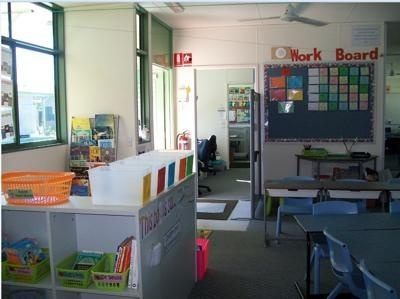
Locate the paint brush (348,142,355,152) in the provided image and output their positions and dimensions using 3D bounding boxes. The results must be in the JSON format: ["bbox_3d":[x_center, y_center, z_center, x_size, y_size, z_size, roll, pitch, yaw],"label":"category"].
[{"bbox_3d":[3.110,-0.051,6.918,0.032,0.123,0.129,13,-6,-23],"label":"paint brush"}]

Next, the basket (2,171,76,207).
[{"bbox_3d":[-1.249,0.292,2.568,0.469,0.173,0.318,4,2,0],"label":"basket"}]

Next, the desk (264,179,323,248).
[{"bbox_3d":[1.309,0.848,4.964,0.960,0.998,0.819,0,-1,4],"label":"desk"}]

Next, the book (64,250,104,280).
[{"bbox_3d":[-0.881,0.848,2.474,0.142,0.069,0.205,0,1,4],"label":"book"}]

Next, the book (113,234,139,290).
[{"bbox_3d":[-0.538,0.786,2.416,0.166,0.356,0.266,-4,8,-15],"label":"book"}]

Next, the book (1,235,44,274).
[{"bbox_3d":[-1.305,0.763,2.503,0.205,0.208,0.218,1,6,14],"label":"book"}]

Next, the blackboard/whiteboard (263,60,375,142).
[{"bbox_3d":[2.542,-1.039,6.937,1.692,1.208,0.037,0,1,4],"label":"blackboard/whiteboard"}]
